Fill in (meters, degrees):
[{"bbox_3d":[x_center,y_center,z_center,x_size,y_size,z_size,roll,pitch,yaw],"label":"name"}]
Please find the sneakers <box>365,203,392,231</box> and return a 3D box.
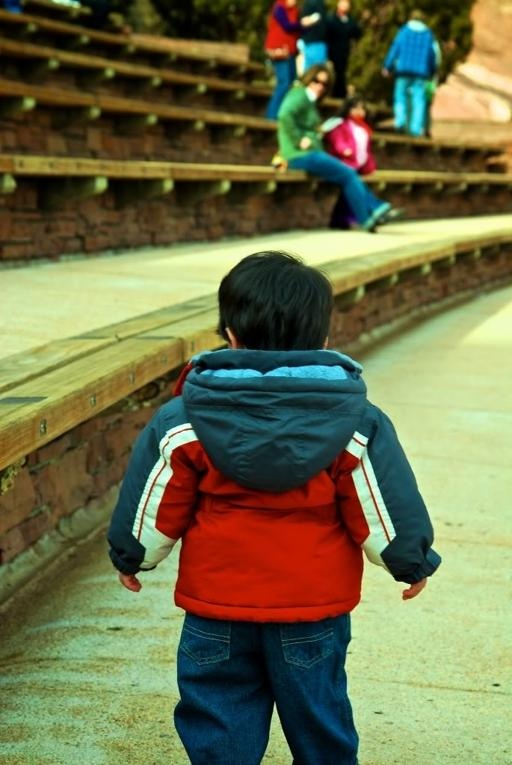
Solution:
[{"bbox_3d":[0.952,-1.299,5.778,0.073,0.252,0.144,26,19,-43],"label":"sneakers"}]
